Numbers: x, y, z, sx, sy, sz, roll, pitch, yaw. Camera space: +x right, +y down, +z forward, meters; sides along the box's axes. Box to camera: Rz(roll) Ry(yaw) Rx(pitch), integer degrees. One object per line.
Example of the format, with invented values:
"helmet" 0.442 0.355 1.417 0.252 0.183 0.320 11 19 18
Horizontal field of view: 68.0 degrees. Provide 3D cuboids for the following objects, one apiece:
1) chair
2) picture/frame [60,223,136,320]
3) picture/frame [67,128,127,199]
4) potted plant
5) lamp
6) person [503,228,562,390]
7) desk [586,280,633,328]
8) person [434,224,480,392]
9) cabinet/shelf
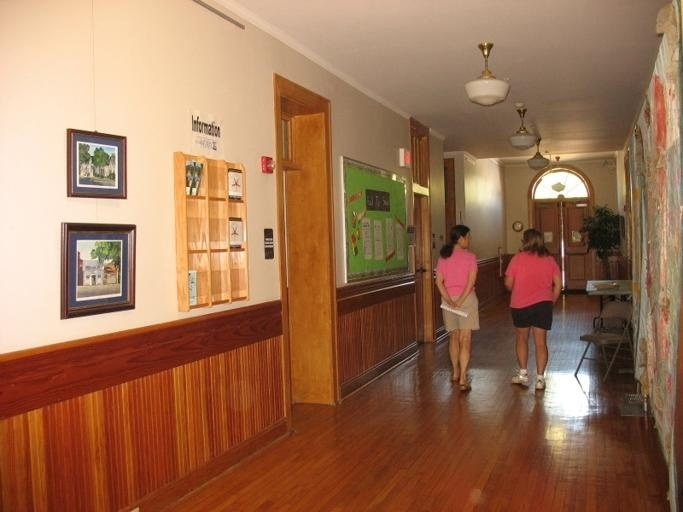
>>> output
"chair" 3.457 1.079 6.630 0.623 0.975 0.505 -2 -1 -23
"picture/frame" -1.621 0.098 3.317 0.047 0.754 0.610 0 1 31
"picture/frame" -1.623 -0.602 3.311 0.030 0.499 0.457 -2 -2 31
"potted plant" 6.773 -0.309 13.135 0.858 1.896 0.945 0 4 43
"lamp" 2.963 -2.314 8.804 0.447 0.811 2.614 0 -20 33
"person" 2.326 0.645 6.159 0.604 1.920 0.437 -1 3 24
"desk" 4.527 0.839 8.557 0.520 0.728 1.038 1 4 25
"person" 1.460 0.634 6.399 0.482 2.020 0.692 -2 3 14
"cabinet/shelf" -1.042 -0.204 4.127 0.184 1.216 0.716 -1 3 29
